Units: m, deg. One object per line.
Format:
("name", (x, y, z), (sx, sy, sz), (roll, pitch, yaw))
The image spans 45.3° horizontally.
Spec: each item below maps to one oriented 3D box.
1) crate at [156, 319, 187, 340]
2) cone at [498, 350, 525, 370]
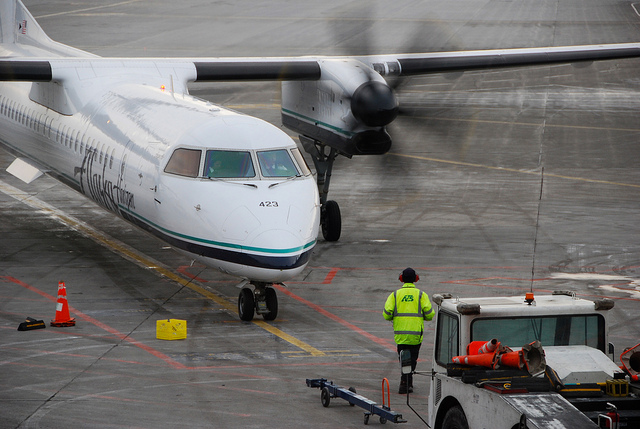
("crate", (-3.850, 2.970, 19.552), (0.991, 0.346, 0.666), (0, -6, 1))
("cone", (3.170, 2.408, 12.656), (0.406, 0.450, 0.201), (27, 49, 36))
